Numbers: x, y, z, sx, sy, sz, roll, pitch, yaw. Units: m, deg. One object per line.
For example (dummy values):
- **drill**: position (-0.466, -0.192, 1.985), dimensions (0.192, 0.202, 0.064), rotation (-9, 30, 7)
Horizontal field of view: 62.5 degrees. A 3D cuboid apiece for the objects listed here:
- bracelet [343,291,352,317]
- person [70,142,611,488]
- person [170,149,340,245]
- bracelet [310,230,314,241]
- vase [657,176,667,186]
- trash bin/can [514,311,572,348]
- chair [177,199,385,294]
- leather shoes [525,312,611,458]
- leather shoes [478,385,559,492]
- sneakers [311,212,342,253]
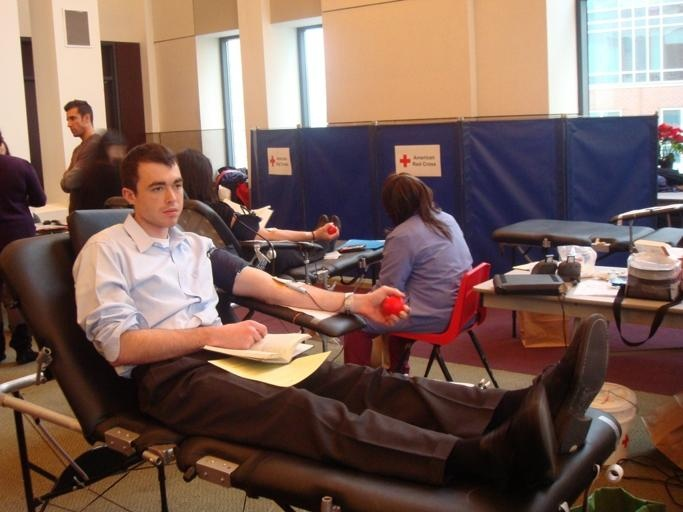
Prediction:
- **bracelet**: position (0.040, 0.198, 2.515), dimensions (0.044, 0.076, 0.079), rotation (3, -7, 9)
- **person**: position (-0.104, 0.190, 2.165), dimensions (1.967, 1.059, 0.847), rotation (1, 3, 27)
- **person**: position (-0.541, -0.377, 3.971), dimensions (1.096, 0.704, 0.491), rotation (-5, 13, -21)
- **bracelet**: position (-0.197, -0.149, 4.012), dimensions (0.017, 0.050, 0.034), rotation (5, -4, -24)
- **vase**: position (2.992, -0.689, 5.228), dimensions (0.084, 0.119, 0.128), rotation (5, 14, 29)
- **trash bin/can**: position (1.475, 0.527, 4.215), dimensions (0.368, 0.271, 0.211), rotation (1, -2, -19)
- **chair**: position (-0.339, 0.021, 3.628), dimensions (0.952, 0.670, 0.747), rotation (-3, 9, -2)
- **leather shoes**: position (0.701, 0.377, 1.760), dimensions (0.153, 0.532, 0.213), rotation (2, 2, -40)
- **leather shoes**: position (0.526, 0.547, 1.659), dimensions (0.206, 0.294, 0.173), rotation (-1, 12, 3)
- **sneakers**: position (-0.098, -0.183, 4.366), dimensions (0.143, 0.461, 0.176), rotation (10, -7, 7)
